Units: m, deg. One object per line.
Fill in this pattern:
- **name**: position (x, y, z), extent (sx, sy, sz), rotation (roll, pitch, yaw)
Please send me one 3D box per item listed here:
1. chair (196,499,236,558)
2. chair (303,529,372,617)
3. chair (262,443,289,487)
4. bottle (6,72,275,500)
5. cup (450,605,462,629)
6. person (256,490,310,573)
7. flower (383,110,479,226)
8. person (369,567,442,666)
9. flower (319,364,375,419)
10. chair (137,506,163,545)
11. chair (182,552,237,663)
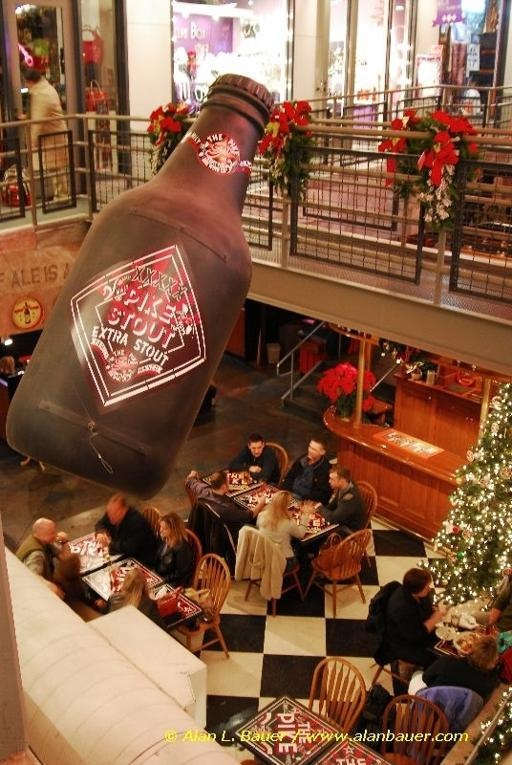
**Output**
- **chair**: position (-0.443, 1.548, 5.911), extent (0.426, 0.585, 0.366), rotation (-21, 36, -39)
- **chair**: position (0.892, 1.916, 6.013), extent (0.635, 0.946, 0.687), rotation (5, 15, 13)
- **chair**: position (0.334, 1.076, 7.577), extent (0.389, 0.541, 0.417), rotation (3, 9, 13)
- **bottle**: position (-0.111, -0.143, 0.717), extent (0.206, 0.528, 0.380), rotation (11, 17, 32)
- **cup**: position (1.789, 2.106, 4.970), extent (0.143, 0.143, 0.093), rotation (3, -2, 15)
- **person**: position (0.288, 1.647, 5.909), extent (0.535, 1.145, 0.481), rotation (13, 29, 25)
- **flower**: position (1.184, -1.601, 3.888), extent (0.698, 0.406, 0.770), rotation (-4, 0, 19)
- **person**: position (1.282, 2.051, 4.845), extent (0.585, 0.985, 0.279), rotation (6, 15, 17)
- **flower**: position (1.297, 0.091, 7.445), extent (0.716, 0.747, 0.741), rotation (6, 8, -28)
- **chair**: position (-1.237, 1.553, 6.117), extent (0.259, 0.378, 0.373), rotation (-10, -7, -12)
- **chair**: position (-0.561, 2.168, 5.321), extent (0.575, 0.953, 0.503), rotation (14, 14, 39)
